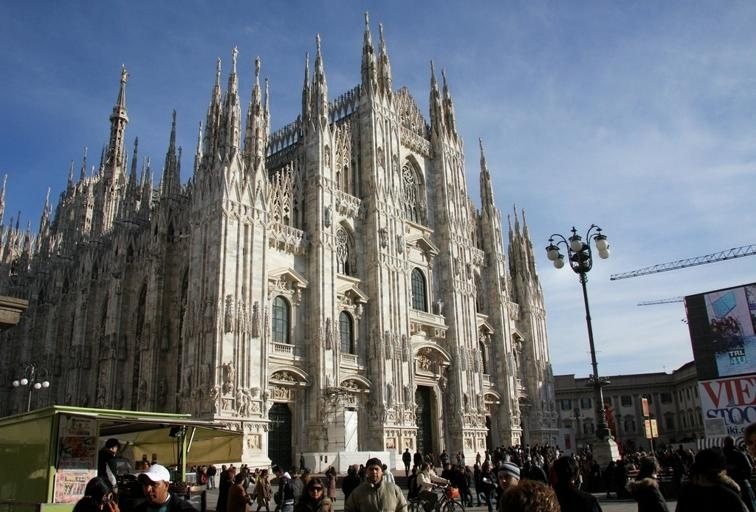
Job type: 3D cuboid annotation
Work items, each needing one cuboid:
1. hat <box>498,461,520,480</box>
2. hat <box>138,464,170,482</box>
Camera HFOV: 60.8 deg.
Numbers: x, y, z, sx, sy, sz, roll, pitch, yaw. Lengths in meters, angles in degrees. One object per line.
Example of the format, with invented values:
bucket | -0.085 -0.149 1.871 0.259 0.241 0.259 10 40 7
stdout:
hat | 2.255 3.730 11.222 0.343 0.306 0.556 -8 -22 12
hat | -3.834 3.786 11.280 0.311 0.312 0.467 -17 -25 31
